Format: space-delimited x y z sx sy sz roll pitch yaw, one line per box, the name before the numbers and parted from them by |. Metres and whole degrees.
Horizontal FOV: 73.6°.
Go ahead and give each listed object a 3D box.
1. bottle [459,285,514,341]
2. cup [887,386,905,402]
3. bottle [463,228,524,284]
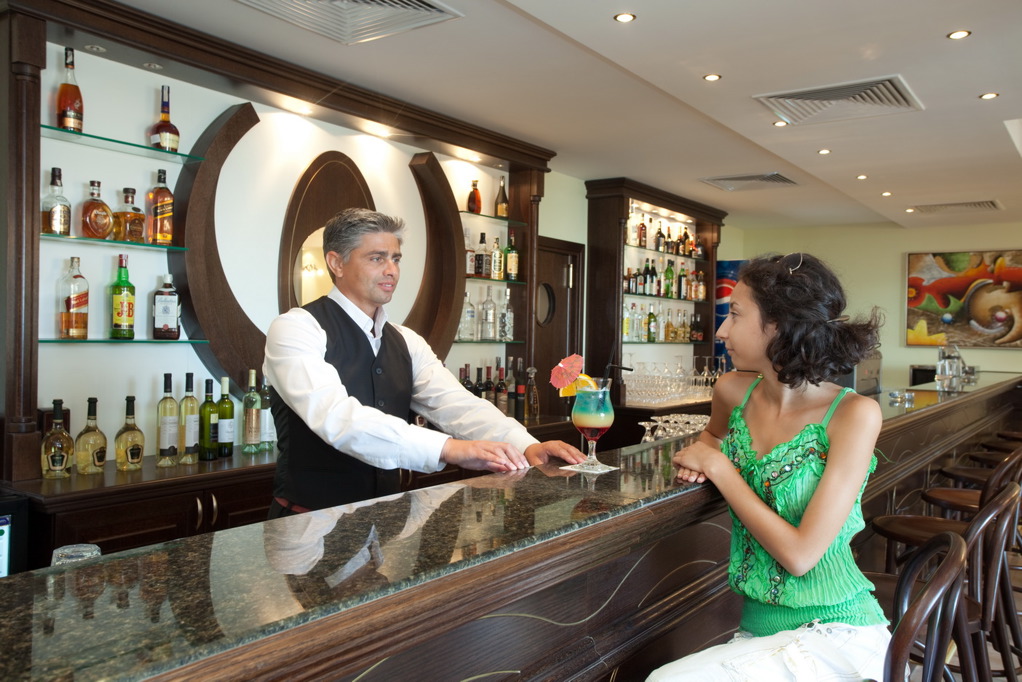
bottle | -0.202 -0.199 5.126 0.134 0.375 0.419 -4 -7 44
cup | 2.427 0.344 4.334 0.107 0.069 0.176 0 1 18
bottle | -0.143 -0.622 5.104 0.468 0.422 0.153 2 -2 -38
